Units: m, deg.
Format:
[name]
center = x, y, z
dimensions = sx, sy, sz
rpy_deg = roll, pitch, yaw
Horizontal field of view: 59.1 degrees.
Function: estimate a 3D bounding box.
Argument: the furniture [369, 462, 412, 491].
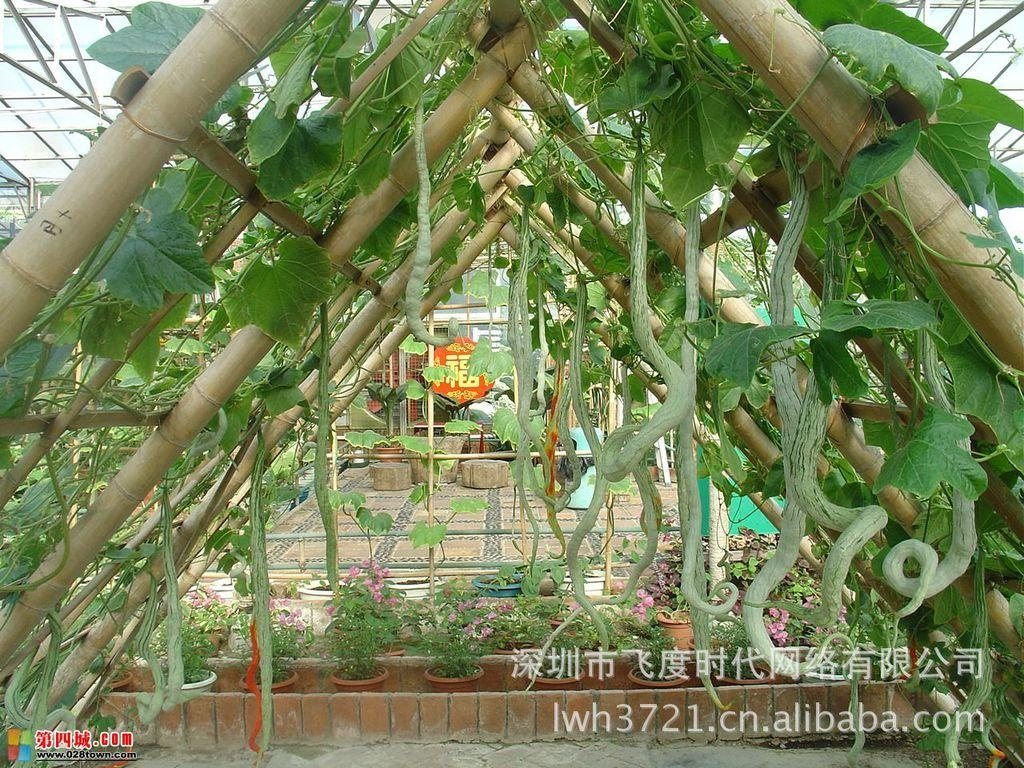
[furniture]
center = -1.328, 1.003, 9.714
dimensions = 0.304, 0.200, 0.320
rpy_deg = 0, 3, -5
